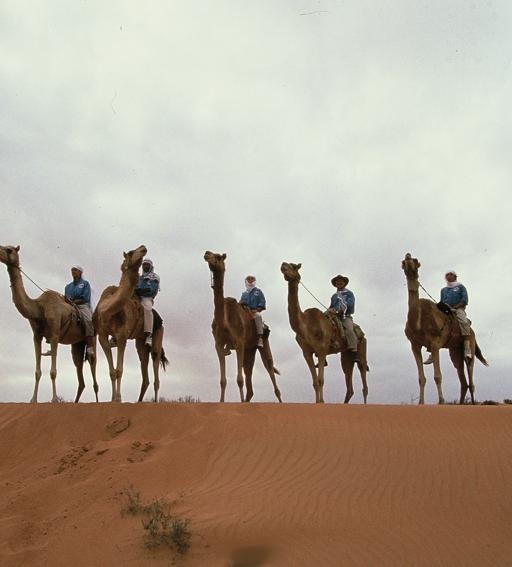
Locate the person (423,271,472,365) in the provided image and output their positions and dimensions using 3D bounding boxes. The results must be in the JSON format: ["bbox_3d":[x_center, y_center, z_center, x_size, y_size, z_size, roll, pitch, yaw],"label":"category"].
[{"bbox_3d":[4.422,0.785,16.673,0.890,2.423,0.723,-5,-32,22],"label":"person"}]

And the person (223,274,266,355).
[{"bbox_3d":[-0.253,0.813,14.894,0.865,2.211,0.720,-18,-49,16],"label":"person"}]

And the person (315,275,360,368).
[{"bbox_3d":[1.907,0.777,16.557,0.605,1.984,0.592,11,-22,-36],"label":"person"}]
